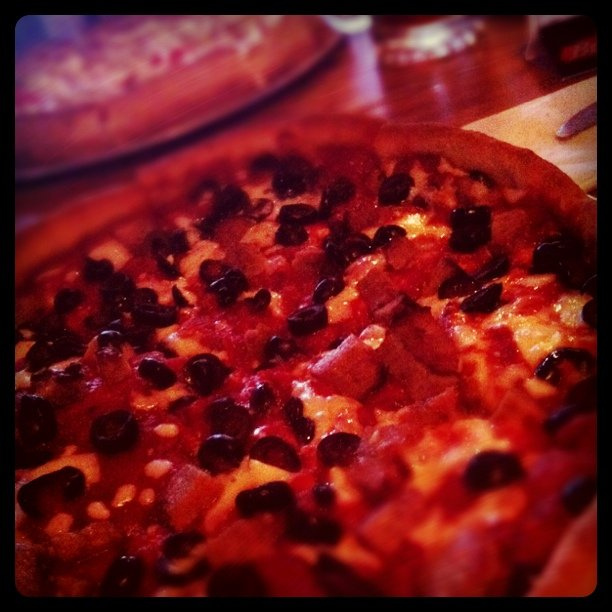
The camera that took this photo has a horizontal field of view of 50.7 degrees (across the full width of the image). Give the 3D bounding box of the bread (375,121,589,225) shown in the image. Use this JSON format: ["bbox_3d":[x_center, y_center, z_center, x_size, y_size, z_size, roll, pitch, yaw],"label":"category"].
[{"bbox_3d":[0.222,-0.180,0.852,0.333,0.057,0.079,8,71,-23],"label":"bread"}]
